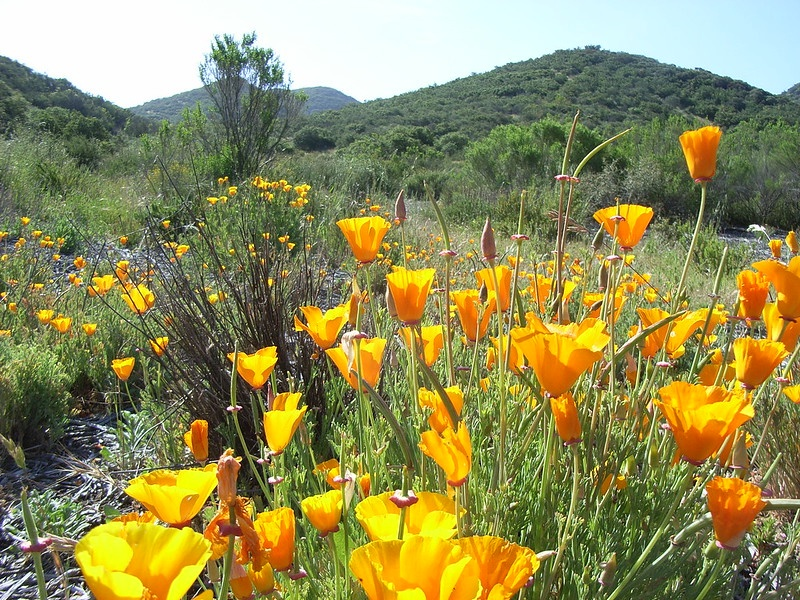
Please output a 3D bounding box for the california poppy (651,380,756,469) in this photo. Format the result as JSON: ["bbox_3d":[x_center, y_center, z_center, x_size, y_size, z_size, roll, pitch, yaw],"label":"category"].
[{"bbox_3d":[0.744,0.277,1.437,0.198,0.207,0.222,18,-3,28],"label":"california poppy"}]

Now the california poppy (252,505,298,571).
[{"bbox_3d":[-0.313,0.612,1.471,0.108,0.181,0.048,-6,10,-33],"label":"california poppy"}]

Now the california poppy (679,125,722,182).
[{"bbox_3d":[1.014,-0.492,1.968,0.118,0.186,0.187,4,10,27],"label":"california poppy"}]

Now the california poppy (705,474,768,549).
[{"bbox_3d":[0.788,0.503,1.378,0.122,0.182,0.137,3,10,25],"label":"california poppy"}]

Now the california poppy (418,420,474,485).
[{"bbox_3d":[0.115,0.392,1.450,0.115,0.223,0.167,0,9,3],"label":"california poppy"}]

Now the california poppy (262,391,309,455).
[{"bbox_3d":[-0.331,0.343,1.650,0.099,0.192,0.206,-2,9,-10],"label":"california poppy"}]
